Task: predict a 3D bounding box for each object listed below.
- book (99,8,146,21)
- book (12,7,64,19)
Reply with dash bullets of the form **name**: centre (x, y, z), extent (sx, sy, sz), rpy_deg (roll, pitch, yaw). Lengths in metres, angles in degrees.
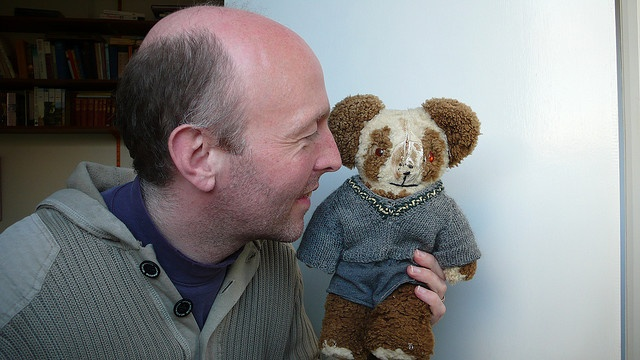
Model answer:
- **book**: centre (-1.467, -1.211, 3.821), extent (0.219, 0.049, 0.209), rpy_deg (0, -2, -16)
- **book**: centre (-2.072, -1.215, 3.787), extent (0.187, 0.042, 0.181), rpy_deg (-3, 6, -26)
